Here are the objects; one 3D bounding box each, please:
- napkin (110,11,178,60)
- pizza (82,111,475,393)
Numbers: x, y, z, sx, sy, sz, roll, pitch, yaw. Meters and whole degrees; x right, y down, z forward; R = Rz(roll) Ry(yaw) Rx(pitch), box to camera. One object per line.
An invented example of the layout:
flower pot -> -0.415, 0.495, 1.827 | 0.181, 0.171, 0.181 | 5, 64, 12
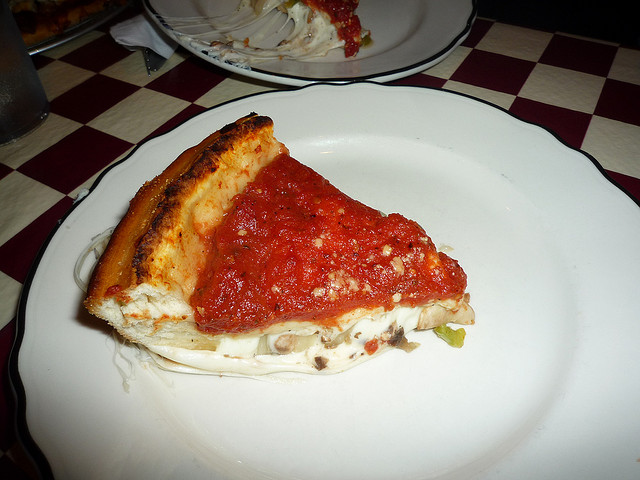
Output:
napkin -> -0.982, -1.154, 2.985 | 0.312, 0.120, 0.335 | -26, 72, -21
pizza -> -0.128, 0.056, 1.912 | 1.218, 0.403, 0.784 | 4, 59, 2
